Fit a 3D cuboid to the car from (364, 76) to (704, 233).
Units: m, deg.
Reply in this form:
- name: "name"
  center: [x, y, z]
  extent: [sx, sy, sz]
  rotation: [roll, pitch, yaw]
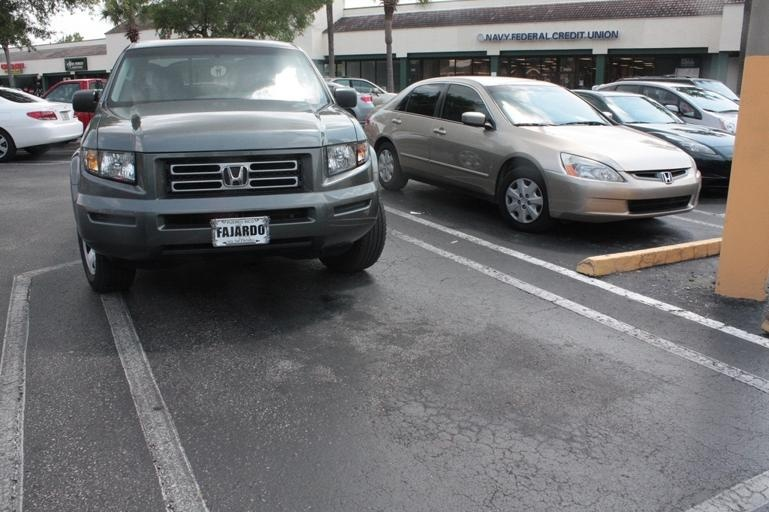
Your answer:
- name: "car"
  center: [2.031, -1.679, 7.353]
  extent: [1.870, 1.930, 4.425]
  rotation: [-21, 29, -35]

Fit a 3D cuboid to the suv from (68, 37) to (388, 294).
- name: "suv"
  center: [-1.494, -0.738, 4.479]
  extent: [2.530, 2.352, 2.168]
  rotation: [-17, 27, -30]
